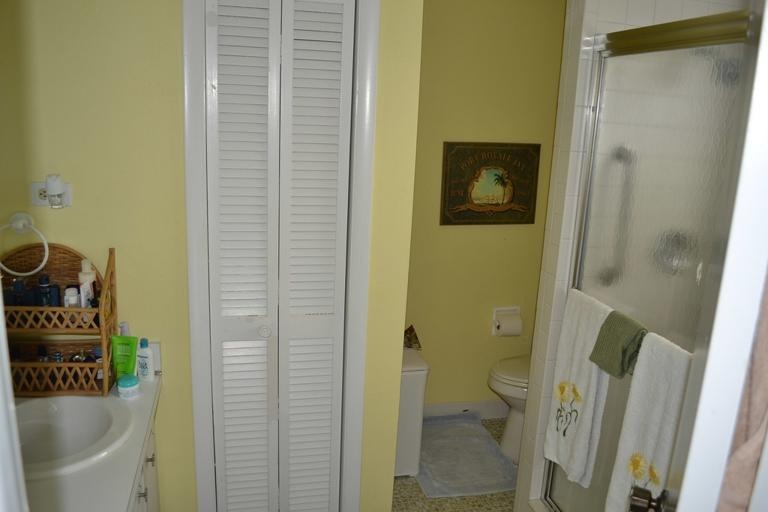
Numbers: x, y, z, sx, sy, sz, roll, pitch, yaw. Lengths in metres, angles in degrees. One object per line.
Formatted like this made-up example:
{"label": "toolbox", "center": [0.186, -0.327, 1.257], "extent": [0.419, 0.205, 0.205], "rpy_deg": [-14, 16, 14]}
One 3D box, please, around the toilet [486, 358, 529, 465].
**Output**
{"label": "toilet", "center": [0.848, 0.992, 3.845], "extent": [0.425, 0.522, 0.541], "rpy_deg": [1, 1, 5]}

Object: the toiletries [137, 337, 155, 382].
{"label": "toiletries", "center": [-1.022, 0.429, 2.496], "extent": [0.079, 0.190, 0.074], "rpy_deg": [0, 13, 0]}

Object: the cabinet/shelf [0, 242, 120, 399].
{"label": "cabinet/shelf", "center": [-1.271, 0.256, 2.271], "extent": [0.586, 0.585, 0.212], "rpy_deg": [-1, 6, -12]}

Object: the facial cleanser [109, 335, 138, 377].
{"label": "facial cleanser", "center": [-1.085, 0.426, 2.439], "extent": [0.105, 0.219, 0.062], "rpy_deg": [6, 16, -11]}

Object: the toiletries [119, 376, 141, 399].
{"label": "toiletries", "center": [-1.024, 0.519, 2.361], "extent": [0.082, 0.074, 0.082], "rpy_deg": [4, 19, -21]}

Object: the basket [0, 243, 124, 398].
{"label": "basket", "center": [-1.267, 0.256, 2.273], "extent": [0.580, 0.577, 0.209], "rpy_deg": [-1, 6, -13]}

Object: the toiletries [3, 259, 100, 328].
{"label": "toiletries", "center": [-1.310, 0.139, 2.333], "extent": [0.391, 0.272, 0.224], "rpy_deg": [-1, 13, -5]}

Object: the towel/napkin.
{"label": "towel/napkin", "center": [0.996, 0.582, 2.472], "extent": [0.146, 0.935, 0.866], "rpy_deg": [-4, 22, -17]}

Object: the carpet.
{"label": "carpet", "center": [0.476, 1.299, 3.899], "extent": [0.668, 0.015, 1.049], "rpy_deg": [-4, 10, -5]}

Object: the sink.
{"label": "sink", "center": [-1.135, 0.676, 2.176], "extent": [0.366, 0.209, 0.483], "rpy_deg": [-9, 15, -34]}
